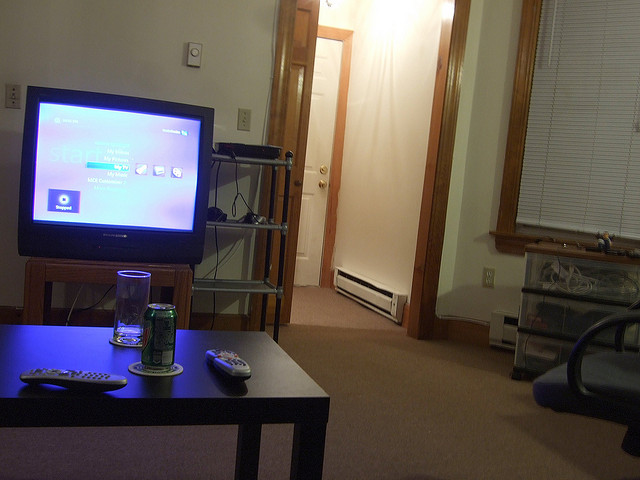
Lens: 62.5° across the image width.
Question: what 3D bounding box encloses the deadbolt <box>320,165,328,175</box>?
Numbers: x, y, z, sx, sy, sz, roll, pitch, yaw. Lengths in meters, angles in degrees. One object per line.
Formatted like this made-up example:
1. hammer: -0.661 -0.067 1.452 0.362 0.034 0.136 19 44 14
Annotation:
1. deadbolt: 0.037 -0.705 5.326 0.080 0.088 0.021 2 7 -9

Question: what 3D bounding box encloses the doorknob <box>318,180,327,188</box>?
1. doorknob: 0.022 -0.563 5.329 0.059 0.068 0.042 -2 -10 -7

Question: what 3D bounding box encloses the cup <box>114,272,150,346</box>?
1. cup: -0.613 0.222 1.731 0.154 0.219 0.104 6 8 20
